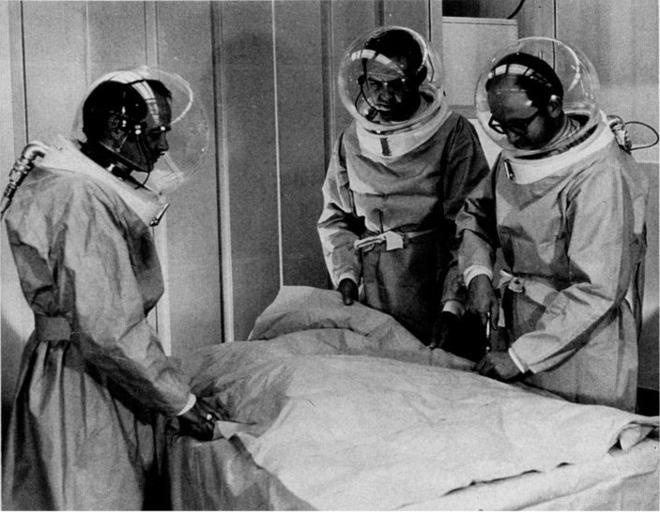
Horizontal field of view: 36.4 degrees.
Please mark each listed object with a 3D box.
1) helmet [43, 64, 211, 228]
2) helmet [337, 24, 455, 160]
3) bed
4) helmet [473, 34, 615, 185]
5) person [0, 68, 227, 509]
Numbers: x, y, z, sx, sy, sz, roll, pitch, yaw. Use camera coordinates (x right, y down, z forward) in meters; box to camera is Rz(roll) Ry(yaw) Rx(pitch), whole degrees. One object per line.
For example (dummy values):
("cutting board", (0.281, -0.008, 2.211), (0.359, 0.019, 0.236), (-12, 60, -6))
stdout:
("helmet", (-0.617, -0.381, 3.144), (0.565, 0.545, 0.395), (-3, 28, -31))
("helmet", (0.144, -0.514, 3.369), (0.355, 0.426, 0.425), (-17, 2, -3))
("bed", (0.203, 0.530, 2.863), (1.400, 0.448, 0.710), (0, 5, 6))
("helmet", (0.602, -0.458, 3.132), (0.439, 0.469, 0.383), (-11, 15, 8))
("person", (-0.672, 0.120, 2.923), (0.644, 1.314, 0.273), (-2, 6, -7))
